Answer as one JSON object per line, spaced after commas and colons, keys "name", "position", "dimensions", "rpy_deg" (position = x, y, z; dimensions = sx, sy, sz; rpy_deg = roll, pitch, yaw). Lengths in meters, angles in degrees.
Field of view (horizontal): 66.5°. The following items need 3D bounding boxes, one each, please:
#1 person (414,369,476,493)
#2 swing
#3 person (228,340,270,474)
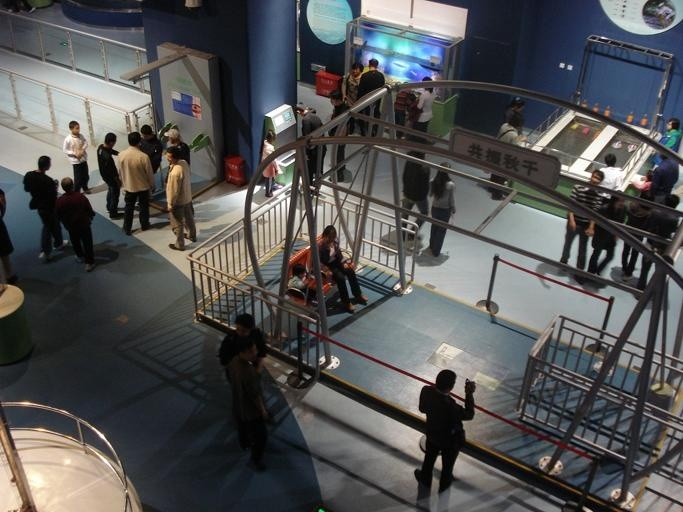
{"name": "person", "position": [1.270, 2.147, 6.476], "dimensions": [0.699, 1.763, 0.537], "rpy_deg": [16, 30, 33]}
{"name": "swing", "position": [-0.298, -0.220, 8.971], "dimensions": [1.332, 1.709, 1.834], "rpy_deg": [10, 47, 20]}
{"name": "person", "position": [-1.194, 1.966, 6.605], "dimensions": [0.468, 1.887, 0.721], "rpy_deg": [-27, 55, -26]}
